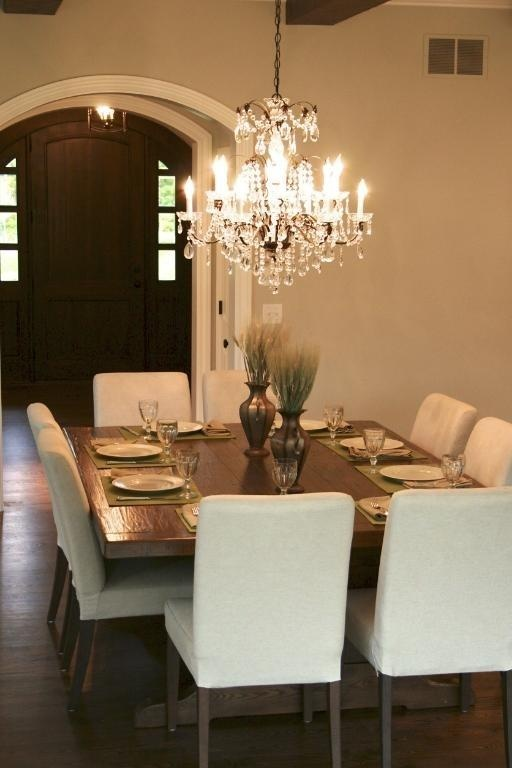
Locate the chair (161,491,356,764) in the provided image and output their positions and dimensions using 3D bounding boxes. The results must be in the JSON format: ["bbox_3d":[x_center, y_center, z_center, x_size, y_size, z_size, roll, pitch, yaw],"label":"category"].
[{"bbox_3d":[0.030,0.412,1.277,0.301,0.425,0.202,1,3,-2],"label":"chair"}]

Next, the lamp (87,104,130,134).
[{"bbox_3d":[-1.687,-2.993,7.407,0.452,0.222,0.562,1,3,-12],"label":"lamp"}]

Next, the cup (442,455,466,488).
[{"bbox_3d":[0.563,0.248,1.890,0.052,0.114,0.241,2,3,17],"label":"cup"}]

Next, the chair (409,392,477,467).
[{"bbox_3d":[0.795,0.195,2.830,0.206,0.354,0.196,9,11,-28],"label":"chair"}]

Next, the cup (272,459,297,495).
[{"bbox_3d":[0.075,0.233,1.688,0.053,0.097,0.119,1,3,8],"label":"cup"}]
